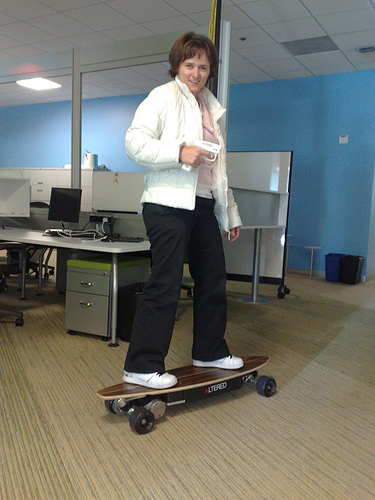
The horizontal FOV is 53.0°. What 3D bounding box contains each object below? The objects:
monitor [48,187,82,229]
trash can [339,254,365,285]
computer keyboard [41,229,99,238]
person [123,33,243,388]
[{"bbox_3d":[-1.079,-0.396,3.302,0.270,0.296,0.106,2,2,-9],"label":"monitor"},{"bbox_3d":[2.339,0.272,5.391,0.293,0.356,0.319,3,6,22],"label":"trash can"},{"bbox_3d":[-0.987,-0.137,3.040,0.362,0.064,0.674,0,3,-38],"label":"computer keyboard"},{"bbox_3d":[-0.009,-0.137,1.492,0.378,1.331,0.535,3,2,21],"label":"person"}]
